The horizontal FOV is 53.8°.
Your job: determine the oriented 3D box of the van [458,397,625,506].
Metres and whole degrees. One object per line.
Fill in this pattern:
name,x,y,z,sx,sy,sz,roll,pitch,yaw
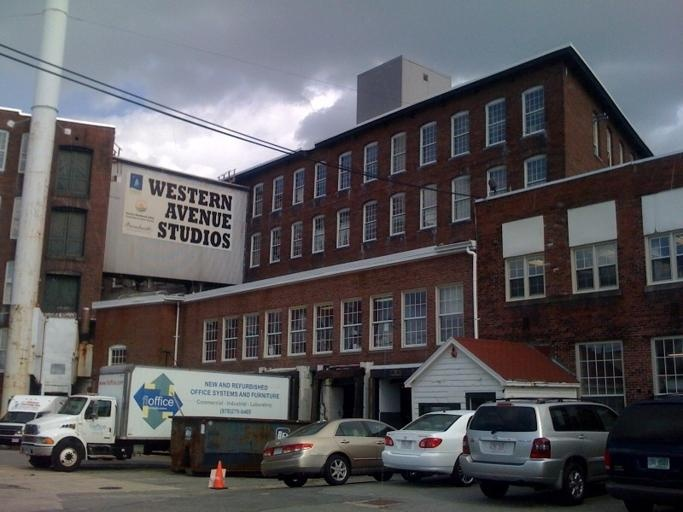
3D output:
van,4.745,4.621,15.955,3.593,2.439,1.555,-13,7,-10

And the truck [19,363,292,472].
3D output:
truck,-6.690,6.245,26.100,9.280,3.191,2.436,7,-18,-28

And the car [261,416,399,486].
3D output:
car,-0.277,5.660,19.636,3.937,1.308,1.788,5,-12,-35
